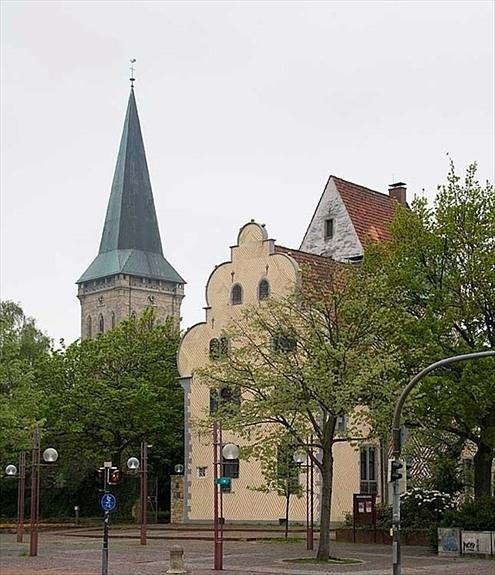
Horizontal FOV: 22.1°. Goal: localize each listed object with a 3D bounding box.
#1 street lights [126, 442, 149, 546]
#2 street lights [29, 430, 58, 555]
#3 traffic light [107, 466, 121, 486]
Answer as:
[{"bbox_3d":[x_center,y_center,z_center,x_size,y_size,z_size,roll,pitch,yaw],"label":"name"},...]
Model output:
[{"bbox_3d":[-3.722,6.780,42.942,0.726,3.044,0.469,-3,20,-10],"label":"street lights"},{"bbox_3d":[-6.330,6.343,39.066,0.819,3.909,0.500,-1,-6,19],"label":"street lights"},{"bbox_3d":[-3.253,4.542,30.751,0.380,0.527,0.364,1,-4,-5],"label":"traffic light"}]
